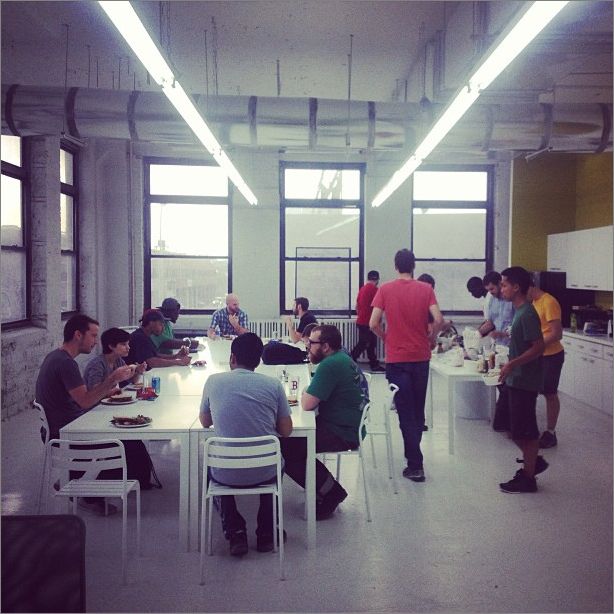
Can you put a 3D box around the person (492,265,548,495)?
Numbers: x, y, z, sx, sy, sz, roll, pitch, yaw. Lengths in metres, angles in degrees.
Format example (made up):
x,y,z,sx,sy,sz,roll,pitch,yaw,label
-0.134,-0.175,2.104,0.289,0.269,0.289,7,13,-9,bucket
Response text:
x,y,z,sx,sy,sz,roll,pitch,yaw,label
1.549,0.526,4.886,0.309,1.604,0.350,0,6,4,person

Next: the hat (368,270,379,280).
x,y,z,sx,sy,sz,roll,pitch,yaw,label
0.931,-0.424,9.365,0.122,0.141,0.205,4,-1,6,hat

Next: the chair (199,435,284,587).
x,y,z,sx,sy,sz,roll,pitch,yaw,label
-0.380,1.072,3.926,0.520,0.802,0.668,-1,7,-5,chair

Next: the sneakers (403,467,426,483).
x,y,z,sx,sy,sz,roll,pitch,yaw,label
0.815,1.274,5.056,0.067,0.099,0.191,1,1,-13,sneakers

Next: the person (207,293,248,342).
x,y,z,sx,sy,sz,roll,pitch,yaw,label
-0.933,0.264,7.915,0.415,0.828,0.375,-6,21,-21,person

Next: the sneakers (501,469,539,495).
x,y,z,sx,sy,sz,roll,pitch,yaw,label
1.536,1.283,4.919,0.276,0.218,0.130,0,-2,7,sneakers

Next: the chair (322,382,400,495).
x,y,z,sx,sy,sz,roll,pitch,yaw,label
0.485,1.016,5.662,0.681,1.452,0.711,0,0,2,chair

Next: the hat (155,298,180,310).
x,y,z,sx,sy,sz,roll,pitch,yaw,label
-1.386,-0.018,6.772,0.131,0.093,0.206,1,-4,-11,hat

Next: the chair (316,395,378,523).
x,y,z,sx,sy,sz,roll,pitch,yaw,label
0.348,1.082,4.999,0.537,1.209,0.605,1,0,1,chair

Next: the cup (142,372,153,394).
x,y,z,sx,sy,sz,roll,pitch,yaw,label
-1.208,0.584,5.090,0.080,0.187,0.090,1,-2,7,cup

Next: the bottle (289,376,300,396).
x,y,z,sx,sy,sz,roll,pitch,yaw,label
-0.091,0.580,4.859,0.066,0.153,0.075,2,3,6,bottle

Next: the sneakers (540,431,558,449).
x,y,z,sx,sy,sz,roll,pitch,yaw,label
2.109,1.172,5.857,0.097,0.121,0.240,-5,-7,38,sneakers

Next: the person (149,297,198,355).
x,y,z,sx,sy,sz,roll,pitch,yaw,label
-1.358,0.345,6.810,0.415,0.895,0.453,4,8,-6,person

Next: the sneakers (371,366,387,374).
x,y,z,sx,sy,sz,roll,pitch,yaw,label
1.008,0.904,9.528,0.242,0.134,0.104,-2,2,-7,sneakers

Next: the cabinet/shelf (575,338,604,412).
x,y,z,sx,sy,sz,roll,pitch,yaw,label
2.953,0.713,6.995,0.195,0.716,0.685,0,1,3,cabinet/shelf

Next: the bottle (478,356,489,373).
x,y,z,sx,sy,sz,roll,pitch,yaw,label
1.528,0.507,5.873,0.081,0.191,0.099,-1,4,-1,bottle

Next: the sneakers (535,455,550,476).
x,y,z,sx,sy,sz,roll,pitch,yaw,label
1.752,1.195,5.024,0.071,0.119,0.236,-3,-9,9,sneakers

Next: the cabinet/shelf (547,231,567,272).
x,y,z,sx,sy,sz,roll,pitch,yaw,label
3.260,-0.707,8.749,0.095,0.495,0.597,0,7,5,cabinet/shelf

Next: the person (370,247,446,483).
x,y,z,sx,sy,sz,roll,pitch,yaw,label
0.781,0.429,5.241,0.563,1.719,0.609,1,6,6,person

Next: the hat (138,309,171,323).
x,y,z,sx,sy,sz,roll,pitch,yaw,label
-1.467,0.061,6.564,0.246,0.158,0.186,-8,3,-24,hat
